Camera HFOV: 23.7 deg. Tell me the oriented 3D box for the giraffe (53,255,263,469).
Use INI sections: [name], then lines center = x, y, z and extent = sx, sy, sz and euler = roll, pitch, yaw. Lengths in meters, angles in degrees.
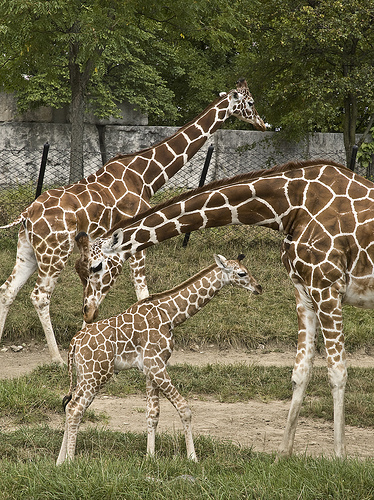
[giraffe]
center = -0.322, 0.835, 7.286
extent = 1.433, 1.622, 1.690
euler = 1, 4, -7
